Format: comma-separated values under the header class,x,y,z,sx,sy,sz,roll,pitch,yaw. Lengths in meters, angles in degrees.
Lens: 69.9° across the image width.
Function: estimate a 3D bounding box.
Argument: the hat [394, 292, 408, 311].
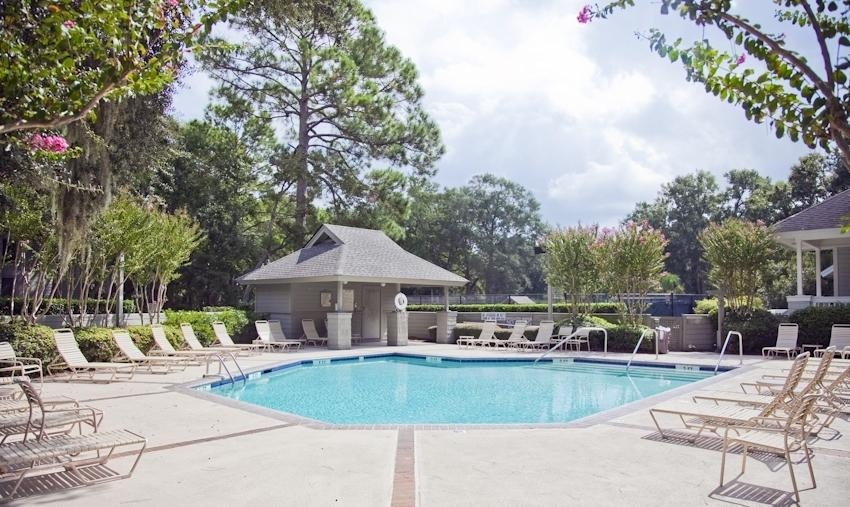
class,x,y,z,sx,sy,sz,roll,pitch,yaw
hat,-1.133,2.099,26.191,0.714,0.703,0.234,8,-13,-24
